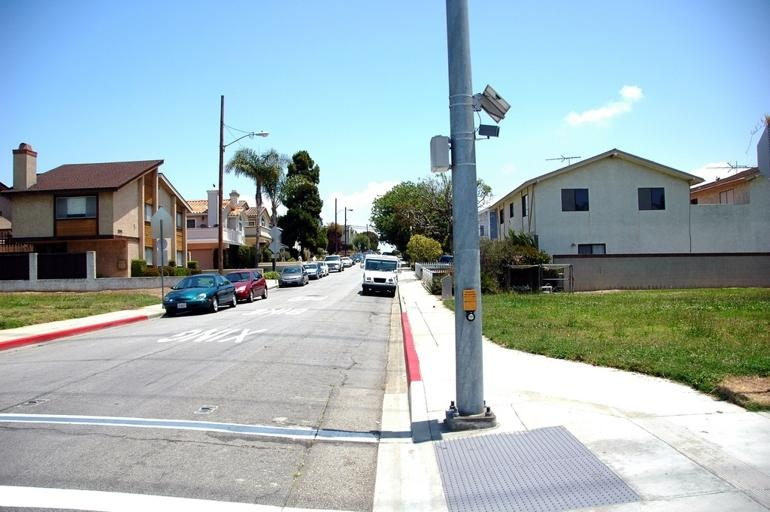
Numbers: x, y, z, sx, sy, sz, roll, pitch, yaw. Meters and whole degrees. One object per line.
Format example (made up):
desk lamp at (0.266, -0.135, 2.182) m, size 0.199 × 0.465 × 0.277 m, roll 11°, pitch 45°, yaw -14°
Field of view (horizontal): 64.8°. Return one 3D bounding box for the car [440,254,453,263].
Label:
car at (6.126, 0.262, 60.948) m, size 1.179 × 1.076 × 2.029 m, roll 2°, pitch 9°, yaw 13°

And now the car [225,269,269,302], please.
car at (-6.783, 1.429, 29.593) m, size 1.116 × 0.954 × 2.131 m, roll -2°, pitch -5°, yaw 8°
